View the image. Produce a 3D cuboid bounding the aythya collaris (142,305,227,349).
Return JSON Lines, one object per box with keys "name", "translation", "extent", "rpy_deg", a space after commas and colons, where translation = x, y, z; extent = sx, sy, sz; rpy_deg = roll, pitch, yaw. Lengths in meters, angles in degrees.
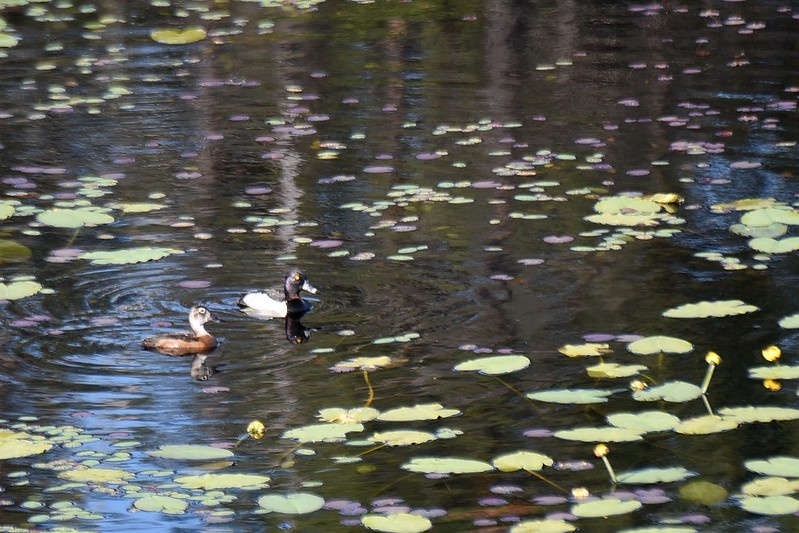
{"name": "aythya collaris", "translation": [-1.809, 0.533, 8.034], "extent": [0.721, 0.379, 0.313], "rpy_deg": [-7, 11, -18]}
